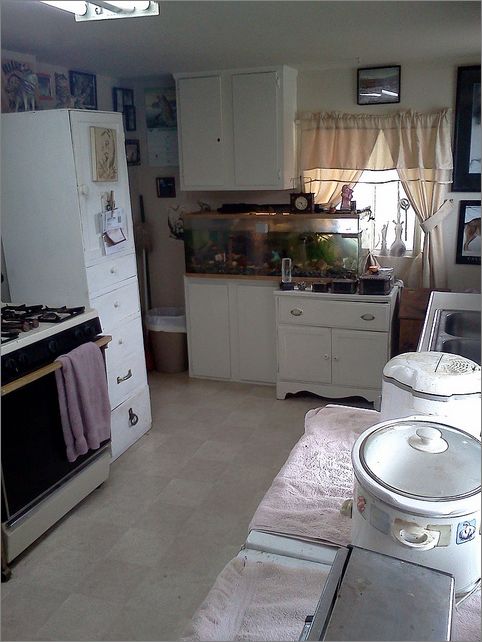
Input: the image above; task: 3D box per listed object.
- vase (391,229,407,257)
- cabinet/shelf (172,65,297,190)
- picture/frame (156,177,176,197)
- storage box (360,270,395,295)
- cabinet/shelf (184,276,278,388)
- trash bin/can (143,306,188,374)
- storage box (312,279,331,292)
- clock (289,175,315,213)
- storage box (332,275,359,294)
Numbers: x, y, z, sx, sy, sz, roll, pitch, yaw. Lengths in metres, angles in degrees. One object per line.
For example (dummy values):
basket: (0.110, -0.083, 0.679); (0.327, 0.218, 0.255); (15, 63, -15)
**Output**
vase: (1.338, -0.669, 4.017); (0.119, 0.247, 0.103); (-2, 14, -3)
cabinet/shelf: (-0.094, -1.655, 4.072); (0.905, 0.972, 0.377); (-2, 30, 2)
picture/frame: (-0.739, -1.309, 4.632); (0.214, 0.202, 0.046); (6, 15, 27)
storage box: (1.064, -0.315, 3.724); (0.256, 0.162, 0.343); (4, 16, 20)
cabinet/shelf: (-0.061, 0.074, 4.254); (0.814, 0.910, 0.283); (2, 14, 15)
trash bin/can: (-0.677, 0.186, 4.777); (0.530, 0.615, 0.509); (0, 10, -4)
storage box: (0.647, -0.279, 3.801); (0.144, 0.070, 0.197); (1, 15, 10)
clock: (0.496, -0.973, 3.892); (0.212, 0.161, 0.114); (4, 15, 21)
storage box: (0.812, -0.278, 3.720); (0.200, 0.098, 0.149); (1, 15, 10)
